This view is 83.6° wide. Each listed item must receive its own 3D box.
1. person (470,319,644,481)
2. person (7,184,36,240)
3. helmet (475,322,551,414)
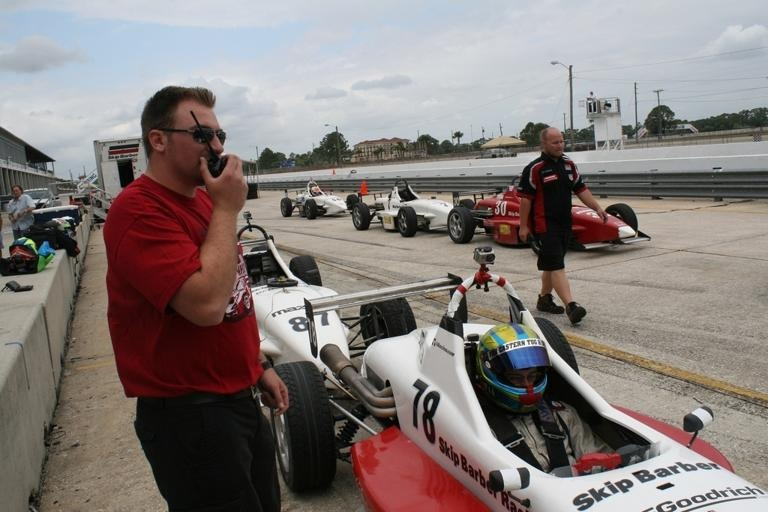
[{"bbox_3d":[0.882,0.849,2.568,0.595,0.316,0.971,-12,44,-24],"label":"person"},{"bbox_3d":[-10.448,-1.254,12.400,0.566,1.460,0.780,-9,10,-39],"label":"person"},{"bbox_3d":[0.801,0.653,2.720,0.460,0.428,0.563,-2,10,-18],"label":"helmet"}]
